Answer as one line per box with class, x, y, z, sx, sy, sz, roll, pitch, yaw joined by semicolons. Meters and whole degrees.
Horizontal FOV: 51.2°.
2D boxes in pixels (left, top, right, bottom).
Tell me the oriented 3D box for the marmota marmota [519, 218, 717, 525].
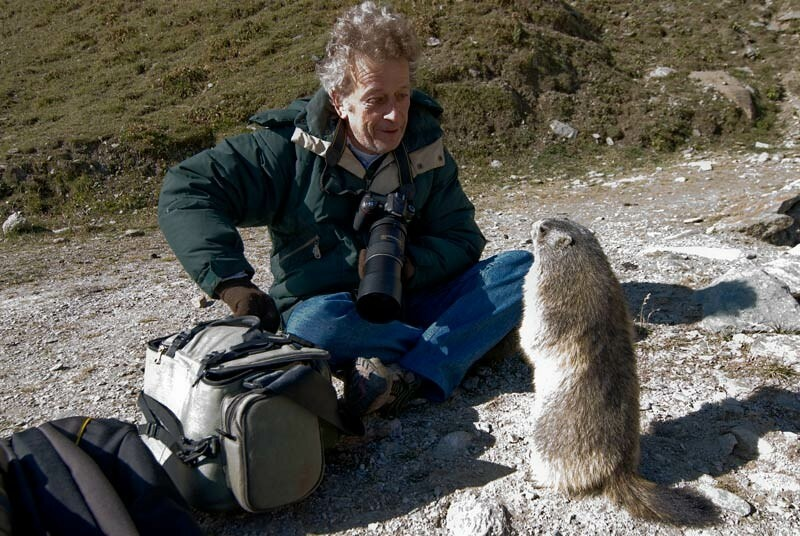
marmota marmota;2.517;1.206;11.024;2.389;3.284;2.586;1;0;6
